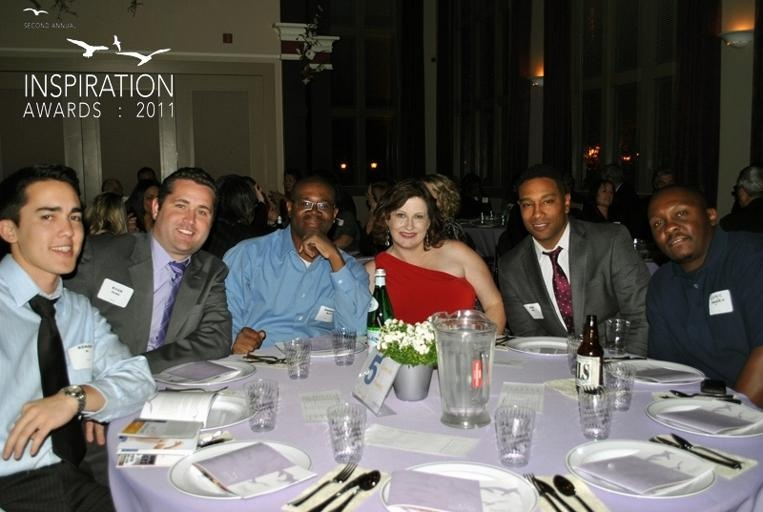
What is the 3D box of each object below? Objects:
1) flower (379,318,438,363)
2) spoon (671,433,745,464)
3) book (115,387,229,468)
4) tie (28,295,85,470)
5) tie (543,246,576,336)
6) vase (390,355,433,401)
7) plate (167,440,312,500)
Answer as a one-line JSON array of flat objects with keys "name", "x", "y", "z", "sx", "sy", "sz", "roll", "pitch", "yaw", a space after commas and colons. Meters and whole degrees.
[{"name": "flower", "x": 0.109, "y": 0.336, "z": 2.186, "sx": 0.178, "sy": 0.104, "sz": 0.180, "roll": 2, "pitch": 8, "yaw": -1}, {"name": "spoon", "x": 1.085, "y": 0.650, "z": 1.827, "sx": 0.204, "sy": 0.039, "sz": 0.056, "roll": 13, "pitch": 16, "yaw": 36}, {"name": "book", "x": -0.761, "y": 0.594, "z": 1.934, "sx": 0.196, "sy": 0.083, "sz": 0.273, "roll": -1, "pitch": 26, "yaw": 3}, {"name": "tie", "x": -1.327, "y": 0.514, "z": 2.245, "sx": 0.152, "sy": 0.720, "sz": 0.233, "roll": -5, "pitch": 8, "yaw": -33}, {"name": "tie", "x": 1.077, "y": 0.196, "z": 3.277, "sx": 0.109, "sy": 0.507, "sz": 0.050, "roll": -12, "pitch": -11, "yaw": 13}, {"name": "vase", "x": 0.124, "y": 0.496, "z": 2.228, "sx": 0.148, "sy": 0.115, "sz": 0.145, "roll": 1, "pitch": -5, "yaw": 8}, {"name": "plate", "x": -0.447, "y": 0.678, "z": 1.765, "sx": 0.456, "sy": 0.087, "sz": 0.245, "roll": -2, "pitch": 5, "yaw": -9}]
